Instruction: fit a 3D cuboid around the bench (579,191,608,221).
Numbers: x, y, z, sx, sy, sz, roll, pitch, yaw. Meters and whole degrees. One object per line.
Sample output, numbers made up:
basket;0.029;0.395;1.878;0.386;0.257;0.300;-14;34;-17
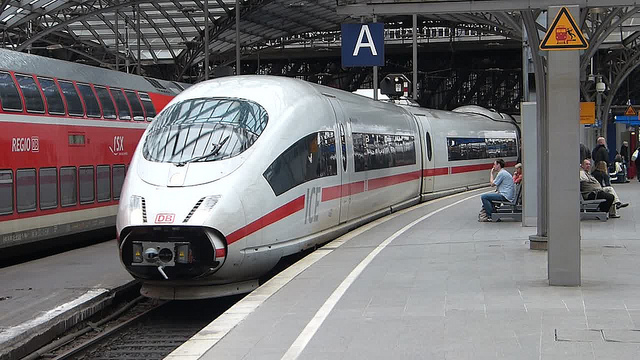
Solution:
bench;8.296;0.794;15.239;0.698;0.788;0.602;1;6;30

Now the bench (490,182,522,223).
bench;6.035;0.724;16.133;1.135;1.446;1.297;0;-4;10

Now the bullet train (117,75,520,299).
bullet train;4.254;-1.050;21.975;3.100;5.407;28.826;1;6;33
